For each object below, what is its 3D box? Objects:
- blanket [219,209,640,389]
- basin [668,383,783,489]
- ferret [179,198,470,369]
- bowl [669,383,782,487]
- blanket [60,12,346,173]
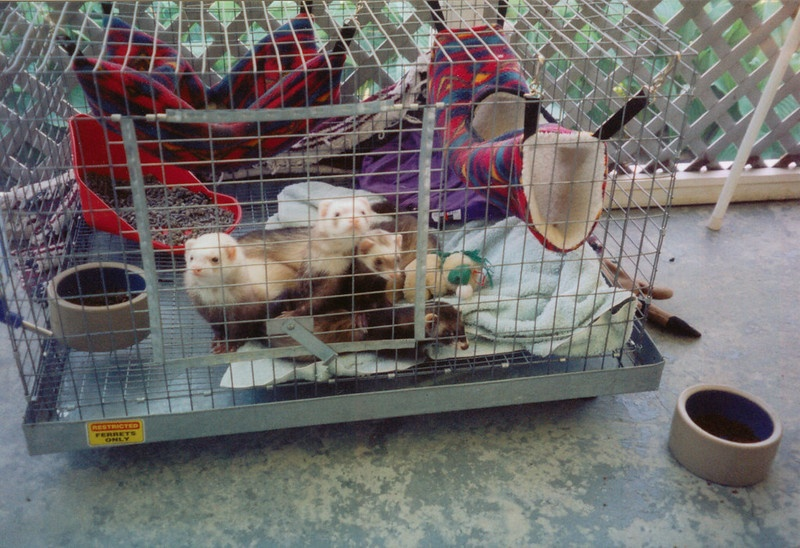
[{"bbox_3d":[0.133,0.146,2.401,1.264,0.216,0.638,-7,49,-3],"label":"blanket"},{"bbox_3d":[1.046,0.523,2.233,0.339,0.191,0.330,0,28,0],"label":"basin"},{"bbox_3d":[-0.234,-0.046,2.208,0.842,0.434,0.328,-11,47,-6],"label":"ferret"},{"bbox_3d":[1.088,0.529,2.269,0.326,0.187,0.331,-1,28,0],"label":"bowl"},{"bbox_3d":[-0.705,-0.642,2.372,0.798,0.508,0.593,-27,50,-35],"label":"blanket"}]
